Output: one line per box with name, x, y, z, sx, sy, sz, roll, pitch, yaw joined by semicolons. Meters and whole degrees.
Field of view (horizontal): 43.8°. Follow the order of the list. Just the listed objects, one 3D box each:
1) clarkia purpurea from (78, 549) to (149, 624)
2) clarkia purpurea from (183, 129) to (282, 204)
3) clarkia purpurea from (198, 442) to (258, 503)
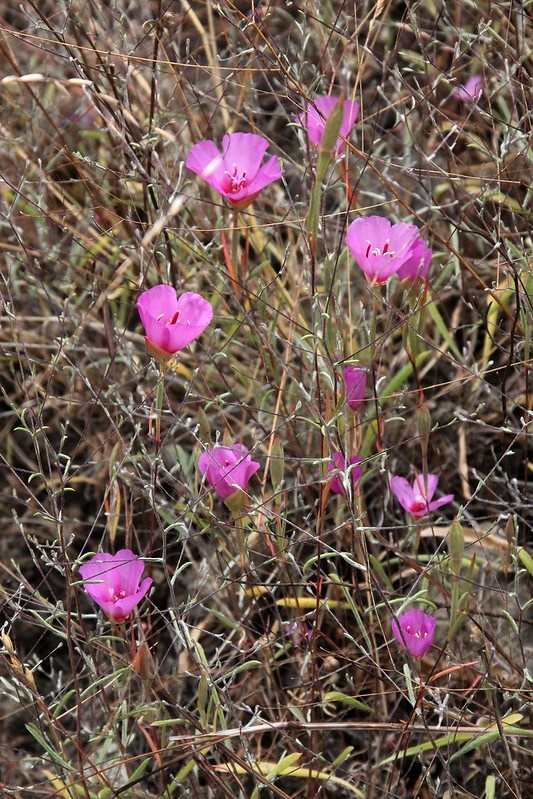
clarkia purpurea;-0.232;0.291;1.014;0.121;0.109;0.112;3;76;-18
clarkia purpurea;-0.065;-0.390;1.150;0.153;0.161;0.083;3;84;8
clarkia purpurea;-0.059;0.121;1.008;0.090;0.108;0.100;-3;96;4
